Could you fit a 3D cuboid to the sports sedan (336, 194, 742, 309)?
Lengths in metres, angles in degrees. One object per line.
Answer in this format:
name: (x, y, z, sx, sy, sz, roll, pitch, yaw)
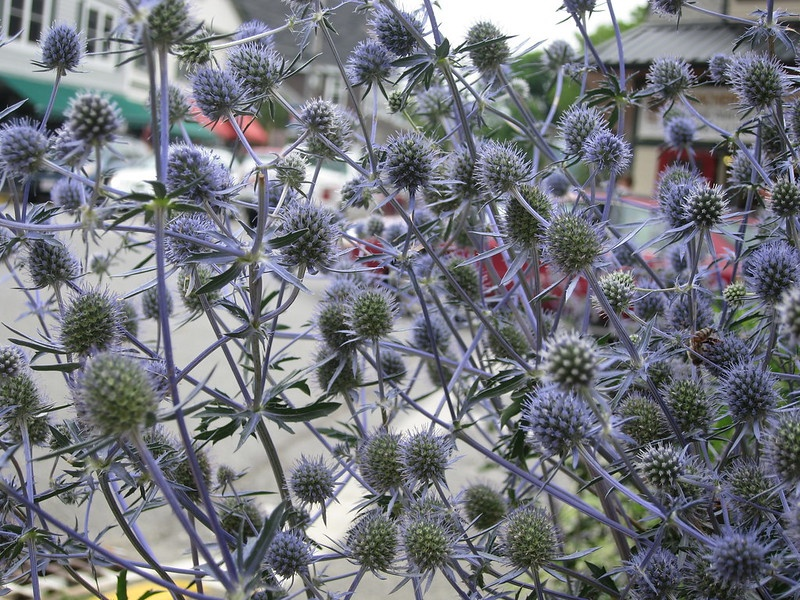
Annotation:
sports sedan: (0.769, -0.265, 6.464, 1.624, 0.797, 0.619, 0, -82, 1)
